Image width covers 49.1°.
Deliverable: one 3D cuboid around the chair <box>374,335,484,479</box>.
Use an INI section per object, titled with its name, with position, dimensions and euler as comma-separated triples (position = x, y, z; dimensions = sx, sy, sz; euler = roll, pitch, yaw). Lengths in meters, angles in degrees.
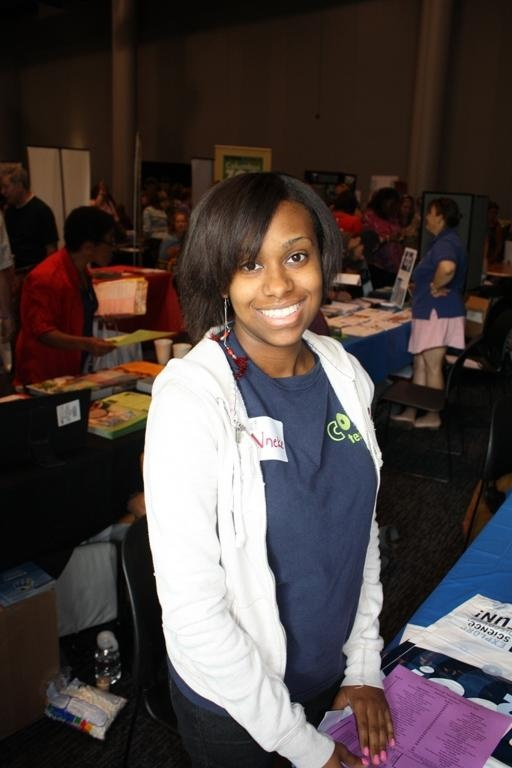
[chair]
position = 1.163, 0.160, 3.861
dimensions = 0.541, 0.817, 0.454
euler = 13, 46, 19
